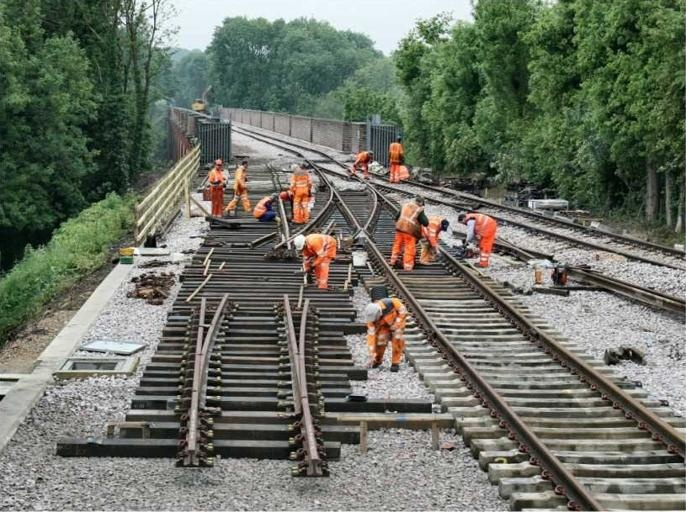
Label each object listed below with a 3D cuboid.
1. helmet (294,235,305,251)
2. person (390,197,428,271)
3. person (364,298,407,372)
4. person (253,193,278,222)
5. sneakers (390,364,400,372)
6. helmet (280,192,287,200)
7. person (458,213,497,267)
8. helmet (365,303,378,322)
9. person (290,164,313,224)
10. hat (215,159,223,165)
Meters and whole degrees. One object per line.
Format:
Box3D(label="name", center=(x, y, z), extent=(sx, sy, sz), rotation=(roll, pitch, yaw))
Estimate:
Box3D(label="helmet", center=(-0.831, -0.247, 12.218), extent=(0.189, 0.370, 0.415), rotation=(2, 15, -2))
Box3D(label="person", center=(1.448, -0.447, 14.085), extent=(0.850, 1.652, 0.561), rotation=(-1, 29, -10))
Box3D(label="person", center=(0.673, 1.165, 9.987), extent=(0.610, 1.261, 0.839), rotation=(5, 16, 6))
Box3D(label="person", center=(-2.236, -1.324, 18.550), extent=(0.593, 0.850, 1.153), rotation=(2, 15, -3))
Box3D(label="sneakers", center=(0.797, 1.729, 9.866), extent=(0.150, 0.128, 0.086), rotation=(0, 6, -15))
Box3D(label="helmet", center=(-1.699, -1.705, 18.191), extent=(0.227, 0.201, 0.214), rotation=(-22, 17, -4))
Box3D(label="person", center=(3.117, -0.347, 15.269), extent=(0.925, 1.339, 0.658), rotation=(-2, 17, -17))
Box3D(label="helmet", center=(0.443, 0.863, 9.602), extent=(0.216, 0.348, 0.215), rotation=(4, 16, 3))
Box3D(label="person", center=(-1.237, -1.739, 18.250), extent=(0.572, 1.656, 0.930), rotation=(2, 16, -4))
Box3D(label="hat", center=(-3.640, -2.728, 18.657), extent=(0.358, 0.171, 0.492), rotation=(-2, 8, -7))
